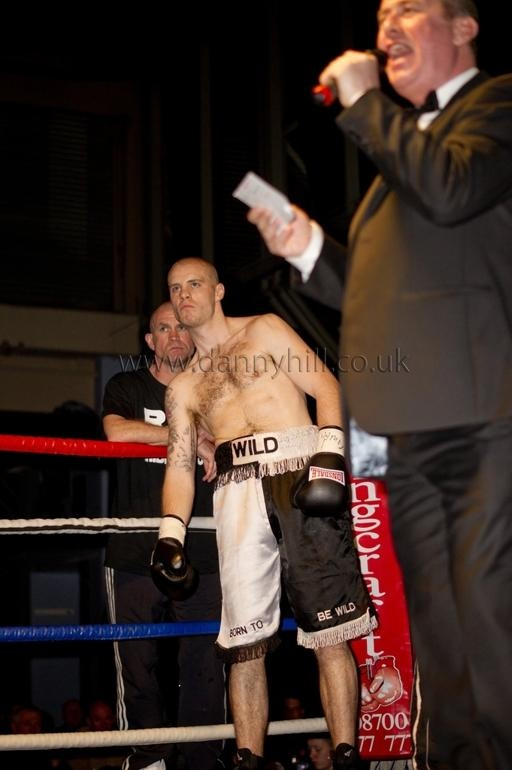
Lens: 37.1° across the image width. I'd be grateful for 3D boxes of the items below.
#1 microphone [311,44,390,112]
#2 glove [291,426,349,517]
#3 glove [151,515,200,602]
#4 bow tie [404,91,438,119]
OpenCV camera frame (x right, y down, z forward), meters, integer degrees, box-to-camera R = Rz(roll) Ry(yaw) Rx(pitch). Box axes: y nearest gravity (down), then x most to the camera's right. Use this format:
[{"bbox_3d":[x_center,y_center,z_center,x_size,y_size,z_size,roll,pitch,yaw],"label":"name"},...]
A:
[{"bbox_3d":[0.201,-0.709,1.708,0.081,0.094,0.304,-39,13,47],"label":"microphone"},{"bbox_3d":[0.196,0.257,2.187,0.146,0.106,0.264,-1,41,8],"label":"glove"},{"bbox_3d":[-0.254,0.544,2.384,0.136,0.239,0.262,0,4,-7],"label":"glove"},{"bbox_3d":[0.358,-0.584,1.618,0.046,0.026,0.061,3,-9,-9],"label":"bow tie"}]
